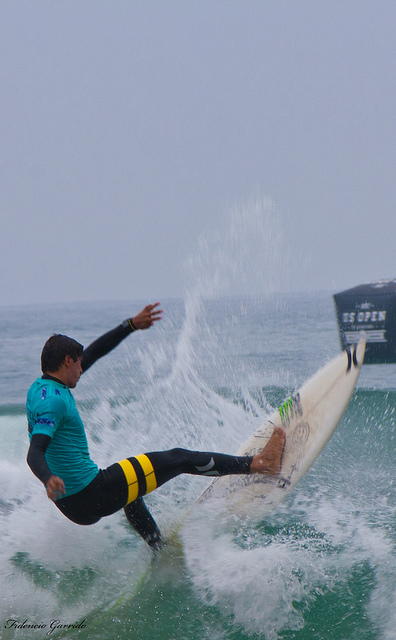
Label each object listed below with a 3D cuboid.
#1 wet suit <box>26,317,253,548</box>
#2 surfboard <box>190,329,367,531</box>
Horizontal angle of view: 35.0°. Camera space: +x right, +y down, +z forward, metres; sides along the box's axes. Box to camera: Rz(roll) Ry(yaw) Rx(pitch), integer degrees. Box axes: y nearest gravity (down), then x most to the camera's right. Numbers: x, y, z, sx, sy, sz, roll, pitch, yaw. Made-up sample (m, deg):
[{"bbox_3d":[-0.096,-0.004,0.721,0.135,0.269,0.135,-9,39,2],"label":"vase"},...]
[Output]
[{"bbox_3d":[-0.214,0.534,3.446,1.200,0.964,1.617,-3,-9,28],"label":"wet suit"},{"bbox_3d":[0.825,0.617,4.818,0.425,0.515,2.485,-38,5,40],"label":"surfboard"}]
